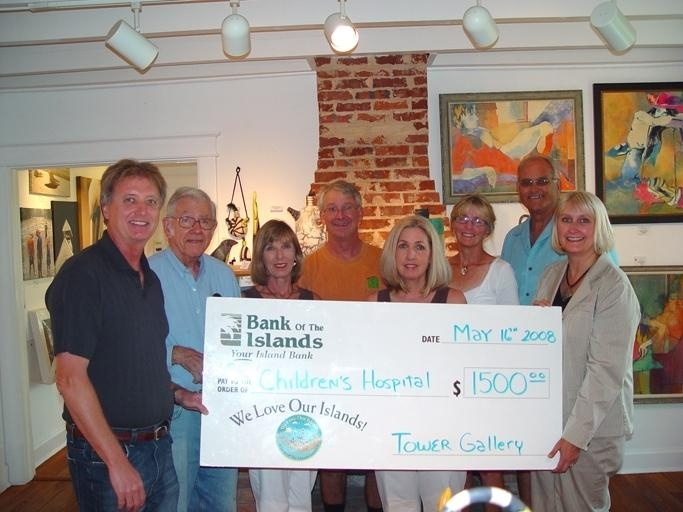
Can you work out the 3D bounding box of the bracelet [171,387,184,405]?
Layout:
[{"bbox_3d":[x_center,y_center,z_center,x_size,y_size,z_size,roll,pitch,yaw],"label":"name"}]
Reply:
[{"bbox_3d":[-0.931,0.781,3.578,0.082,0.087,0.073,8,12,-32],"label":"bracelet"}]

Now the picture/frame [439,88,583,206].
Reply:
[{"bbox_3d":[1.311,-0.850,4.967,0.993,0.763,0.041,-1,-2,0],"label":"picture/frame"}]

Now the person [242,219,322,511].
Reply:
[{"bbox_3d":[-0.377,0.651,3.900,0.452,1.753,0.508,-2,2,-9],"label":"person"}]

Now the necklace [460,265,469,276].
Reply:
[{"bbox_3d":[0.795,0.092,4.170,0.043,0.063,0.017,-2,-19,31],"label":"necklace"}]

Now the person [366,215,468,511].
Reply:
[{"bbox_3d":[0.456,0.676,3.751,0.567,1.834,0.379,-1,2,6],"label":"person"}]

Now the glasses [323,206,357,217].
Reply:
[{"bbox_3d":[-0.010,-0.301,4.263,0.221,0.074,0.066,-1,2,-4],"label":"glasses"}]

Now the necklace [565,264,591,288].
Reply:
[{"bbox_3d":[1.404,0.121,3.803,0.007,0.127,0.090,24,2,-32],"label":"necklace"}]
